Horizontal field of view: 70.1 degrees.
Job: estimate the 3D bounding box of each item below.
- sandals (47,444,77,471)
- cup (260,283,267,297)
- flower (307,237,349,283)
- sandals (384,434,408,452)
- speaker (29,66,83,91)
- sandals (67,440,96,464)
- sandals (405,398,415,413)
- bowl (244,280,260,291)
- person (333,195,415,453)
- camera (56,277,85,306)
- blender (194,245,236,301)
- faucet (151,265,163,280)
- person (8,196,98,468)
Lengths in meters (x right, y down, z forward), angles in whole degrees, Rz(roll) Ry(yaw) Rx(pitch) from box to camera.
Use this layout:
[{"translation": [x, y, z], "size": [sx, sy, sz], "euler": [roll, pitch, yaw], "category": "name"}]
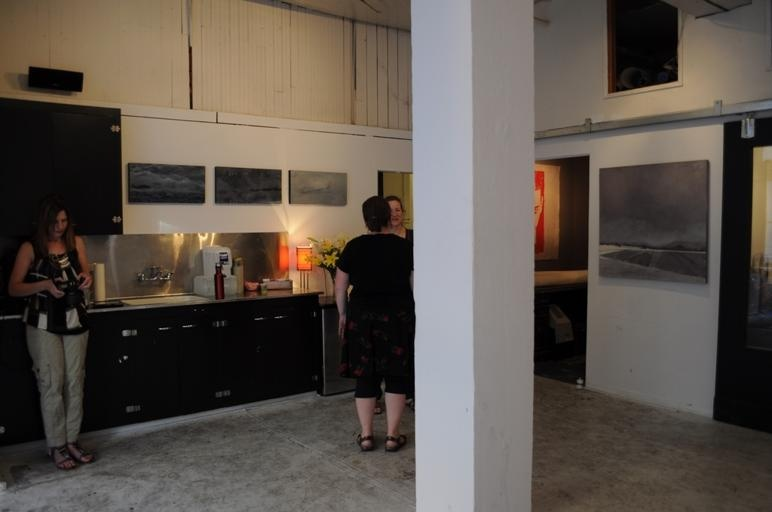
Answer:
[{"translation": [-3.119, 1.928, 5.276], "size": [0.126, 0.162, 0.362], "euler": [1, -5, -40], "category": "sandals"}, {"translation": [-1.513, 0.397, 6.768], "size": [0.107, 0.216, 0.113], "euler": [-2, -8, 0], "category": "cup"}, {"translation": [-0.762, 0.053, 7.108], "size": [0.521, 0.666, 0.525], "euler": [0, -2, -9], "category": "flower"}, {"translation": [0.092, 1.862, 5.508], "size": [0.106, 0.110, 0.248], "euler": [0, 2, 21], "category": "sandals"}, {"translation": [-3.563, -1.916, 5.928], "size": [0.523, 0.249, 0.216], "euler": [-7, 11, -31], "category": "speaker"}, {"translation": [-2.955, 1.904, 5.319], "size": [0.338, 0.143, 0.120], "euler": [2, 4, 42], "category": "sandals"}, {"translation": [0.274, 1.710, 6.326], "size": [0.083, 0.094, 0.248], "euler": [0, 6, -13], "category": "sandals"}, {"translation": [-1.672, 0.365, 6.834], "size": [0.120, 0.083, 0.139], "euler": [2, -10, -44], "category": "bowl"}, {"translation": [-0.116, 0.669, 5.457], "size": [0.764, 2.484, 0.472], "euler": [-1, 9, -2], "category": "person"}, {"translation": [-3.002, 0.350, 5.256], "size": [0.222, 0.227, 0.163], "euler": [-4, 0, 17], "category": "camera"}, {"translation": [-2.061, 0.188, 6.689], "size": [0.525, 0.781, 0.557], "euler": [1, -5, -38], "category": "blender"}, {"translation": [-2.706, 0.179, 6.455], "size": [0.123, 0.145, 0.124], "euler": [-1, -3, 6], "category": "faucet"}, {"translation": [-3.117, 0.715, 5.300], "size": [0.681, 2.512, 0.614], "euler": [8, 12, 43], "category": "person"}]
